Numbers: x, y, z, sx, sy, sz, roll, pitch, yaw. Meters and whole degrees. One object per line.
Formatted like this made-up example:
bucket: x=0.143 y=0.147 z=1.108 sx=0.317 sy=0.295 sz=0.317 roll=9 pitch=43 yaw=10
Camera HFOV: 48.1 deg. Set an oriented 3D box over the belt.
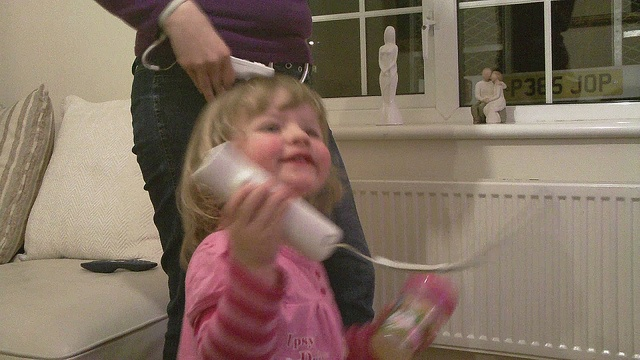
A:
belt: x=-0.289 y=-0.363 z=2.182 sx=0.537 sy=0.143 sz=0.157 roll=-1 pitch=2 yaw=-1
